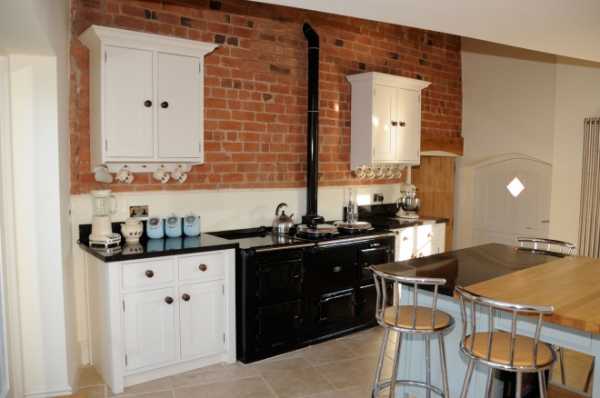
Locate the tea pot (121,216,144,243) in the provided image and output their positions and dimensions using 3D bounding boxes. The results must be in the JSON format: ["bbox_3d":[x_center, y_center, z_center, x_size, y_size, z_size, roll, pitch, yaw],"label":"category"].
[{"bbox_3d":[-1.604,0.300,4.336,0.185,0.228,0.249,0,-1,39],"label":"tea pot"}]

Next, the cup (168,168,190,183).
[{"bbox_3d":[-1.245,-0.242,4.696,0.125,0.161,0.122,12,-30,7],"label":"cup"}]

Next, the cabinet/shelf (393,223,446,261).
[{"bbox_3d":[1.401,0.510,5.457,0.437,0.393,0.180,-5,8,-38],"label":"cabinet/shelf"}]

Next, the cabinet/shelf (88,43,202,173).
[{"bbox_3d":[-1.474,-0.899,4.244,1.251,1.290,0.525,-2,2,-33],"label":"cabinet/shelf"}]

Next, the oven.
[{"bbox_3d":[0.199,0.957,5.224,0.663,1.079,0.820,0,-5,-39],"label":"oven"}]

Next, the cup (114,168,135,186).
[{"bbox_3d":[-1.722,-0.223,4.450,0.126,0.163,0.134,9,-2,0],"label":"cup"}]

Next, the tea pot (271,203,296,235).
[{"bbox_3d":[-0.176,0.224,5.094,0.260,0.333,0.340,6,11,32],"label":"tea pot"}]

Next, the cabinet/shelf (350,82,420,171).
[{"bbox_3d":[1.114,-0.944,5.954,1.215,1.172,0.440,-7,9,-44],"label":"cabinet/shelf"}]

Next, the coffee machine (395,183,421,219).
[{"bbox_3d":[1.415,0.014,6.009,0.279,0.400,0.509,-1,14,-6],"label":"coffee machine"}]

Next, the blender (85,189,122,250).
[{"bbox_3d":[-1.818,0.182,4.174,0.279,0.503,0.222,3,15,10],"label":"blender"}]

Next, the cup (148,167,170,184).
[{"bbox_3d":[-1.414,-0.238,4.605,0.131,0.172,0.130,34,-11,8],"label":"cup"}]
